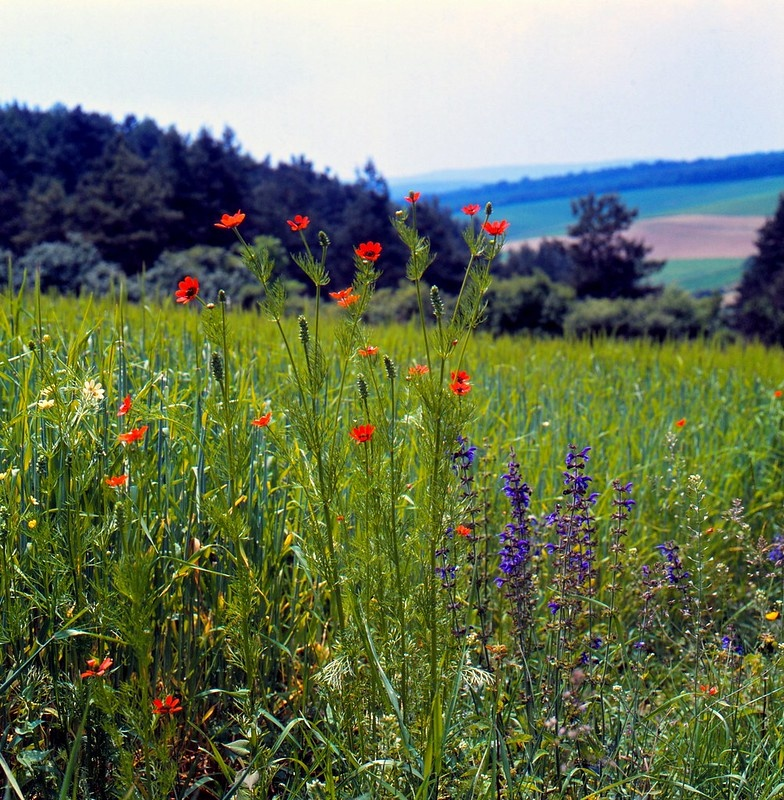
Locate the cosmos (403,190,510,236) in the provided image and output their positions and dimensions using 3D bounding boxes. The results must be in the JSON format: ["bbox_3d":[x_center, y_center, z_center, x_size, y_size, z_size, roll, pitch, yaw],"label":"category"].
[{"bbox_3d":[0.206,-0.599,4.019,0.367,0.146,0.439,2,12,6],"label":"cosmos"}]
